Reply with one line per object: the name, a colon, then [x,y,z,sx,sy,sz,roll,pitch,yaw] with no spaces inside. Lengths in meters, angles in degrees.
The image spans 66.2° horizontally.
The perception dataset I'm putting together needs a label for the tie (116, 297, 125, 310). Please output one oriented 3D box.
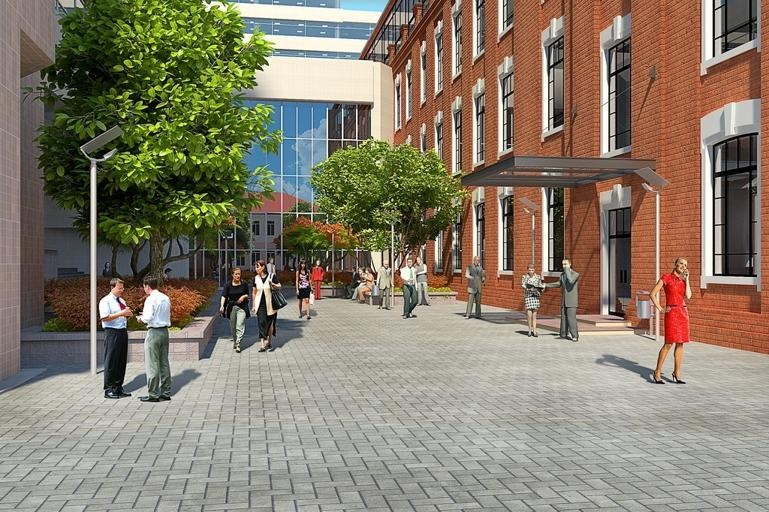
tie: [-4.976,0.903,11.178,0.146,0.218,0.469,1,-3,-23]
